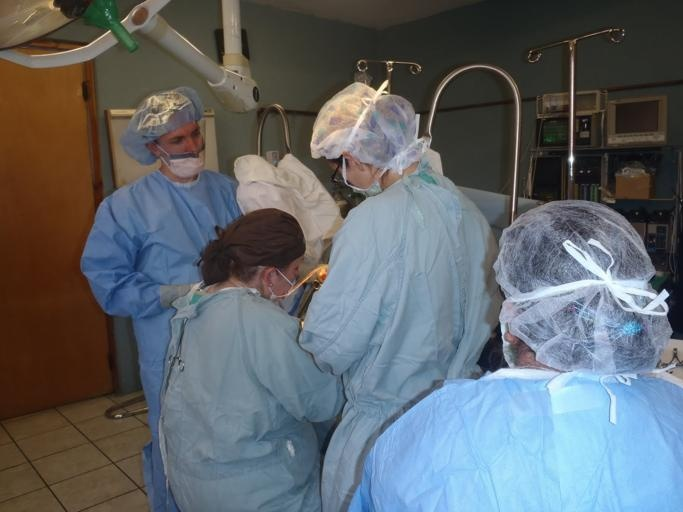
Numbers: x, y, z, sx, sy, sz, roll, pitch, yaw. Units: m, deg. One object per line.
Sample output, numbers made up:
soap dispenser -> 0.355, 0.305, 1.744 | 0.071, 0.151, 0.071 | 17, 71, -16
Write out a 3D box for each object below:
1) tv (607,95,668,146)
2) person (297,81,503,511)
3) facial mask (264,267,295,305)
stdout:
tv -> 1.897, -0.866, 4.030 | 0.353, 0.314, 0.173 | 6, 17, 22
person -> 0.133, 0.099, 2.230 | 0.648, 1.455, 0.673 | 4, 11, 7
facial mask -> -0.226, 0.111, 2.286 | 0.126, 0.093, 0.115 | -9, -2, 7
